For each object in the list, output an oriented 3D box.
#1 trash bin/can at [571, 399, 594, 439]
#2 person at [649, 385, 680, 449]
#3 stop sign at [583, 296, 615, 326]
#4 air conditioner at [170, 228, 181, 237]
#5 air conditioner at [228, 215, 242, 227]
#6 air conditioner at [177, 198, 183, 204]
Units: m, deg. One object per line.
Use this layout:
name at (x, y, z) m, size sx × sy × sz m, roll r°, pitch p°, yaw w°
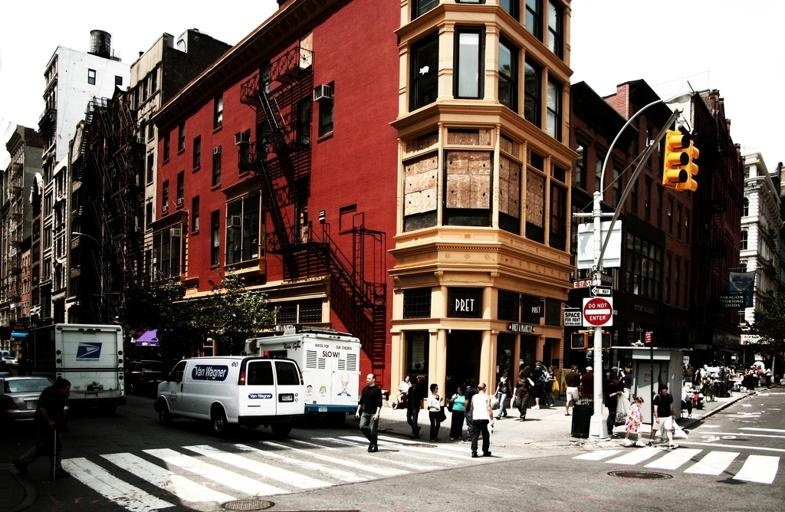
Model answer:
trash bin/can at (9.388, 8.042, 44.772) m, size 1.039 × 1.861 × 0.656 m, roll -2°, pitch -13°, yaw 11°
person at (13.073, 7.688, 43.723) m, size 1.040 × 3.086 × 1.128 m, roll -2°, pitch -4°, yaw 40°
stop sign at (10.261, 2.775, 45.258) m, size 1.581 × 1.751 × 0.228 m, roll 1°, pitch 1°, yaw 35°
air conditioner at (-16.722, -1.812, 70.027) m, size 0.577 × 0.444 × 0.571 m, roll 2°, pitch -1°, yaw -36°
air conditioner at (-11.238, -2.475, 64.639) m, size 0.704 × 0.909 × 1.296 m, roll 1°, pitch -2°, yaw -21°
air conditioner at (-16.671, -4.257, 71.155) m, size 0.450 × 0.648 × 0.445 m, roll 2°, pitch -3°, yaw -33°
